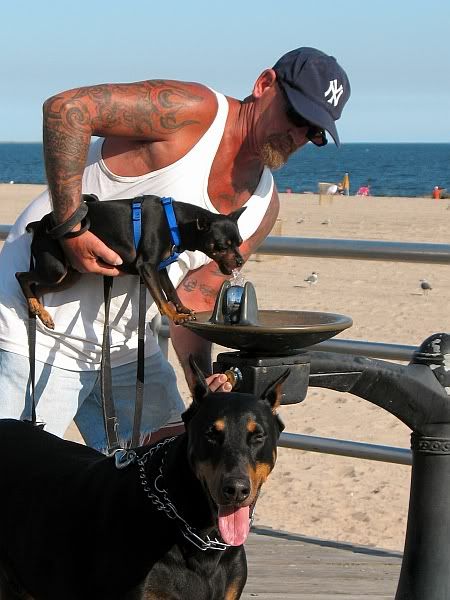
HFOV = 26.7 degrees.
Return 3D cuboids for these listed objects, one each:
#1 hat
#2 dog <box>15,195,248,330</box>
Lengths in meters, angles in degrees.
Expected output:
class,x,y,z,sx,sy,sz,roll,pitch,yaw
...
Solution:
class,x,y,z,sx,sy,sz,roll,pitch,yaw
hat,0.271,-0.620,2.886,0.210,0.276,0.170,11,-15,-28
dog,-0.276,-0.112,2.750,0.648,0.350,0.187,3,1,0
